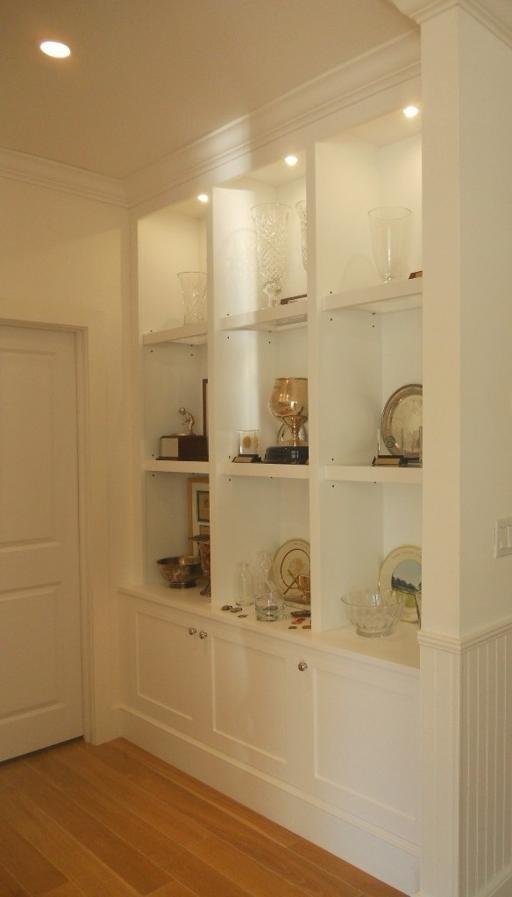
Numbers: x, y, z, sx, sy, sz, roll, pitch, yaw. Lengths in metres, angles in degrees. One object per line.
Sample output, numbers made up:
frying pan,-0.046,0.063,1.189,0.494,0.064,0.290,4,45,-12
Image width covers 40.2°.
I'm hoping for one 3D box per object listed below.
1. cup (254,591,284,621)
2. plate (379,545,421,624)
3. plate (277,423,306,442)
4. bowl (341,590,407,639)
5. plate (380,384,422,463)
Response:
cup,0.049,0.585,2.576,0.078,0.093,0.083,-1,-5,0
plate,0.494,0.469,2.365,0.026,0.278,0.246,7,-2,-27
plate,0.141,-0.066,2.650,0.078,0.083,0.078,-2,3,-40
bowl,0.381,0.538,2.296,0.137,0.099,0.145,-3,-10,-1
plate,0.470,-0.080,2.250,0.123,0.163,0.181,-2,1,7
